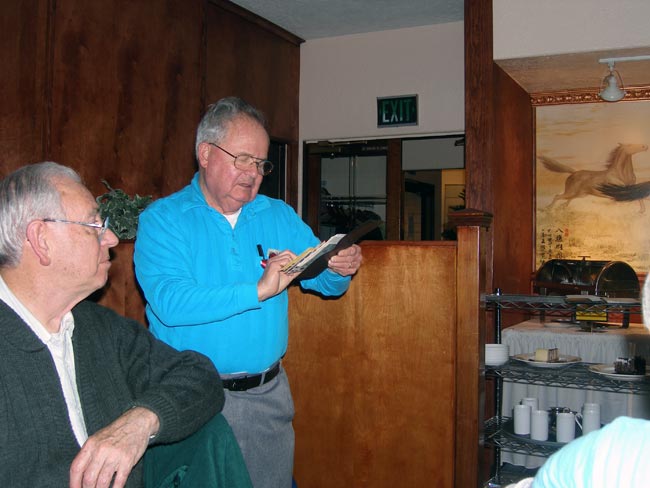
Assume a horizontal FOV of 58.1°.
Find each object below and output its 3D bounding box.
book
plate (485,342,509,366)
[{"bbox_3d":[0.033,0.019,2.487,0.364,0.244,0.385,1,-3,3],"label":"book"},{"bbox_3d":[0.980,0.640,3.414,0.129,0.084,0.140,1,-4,-45],"label":"plate"}]
